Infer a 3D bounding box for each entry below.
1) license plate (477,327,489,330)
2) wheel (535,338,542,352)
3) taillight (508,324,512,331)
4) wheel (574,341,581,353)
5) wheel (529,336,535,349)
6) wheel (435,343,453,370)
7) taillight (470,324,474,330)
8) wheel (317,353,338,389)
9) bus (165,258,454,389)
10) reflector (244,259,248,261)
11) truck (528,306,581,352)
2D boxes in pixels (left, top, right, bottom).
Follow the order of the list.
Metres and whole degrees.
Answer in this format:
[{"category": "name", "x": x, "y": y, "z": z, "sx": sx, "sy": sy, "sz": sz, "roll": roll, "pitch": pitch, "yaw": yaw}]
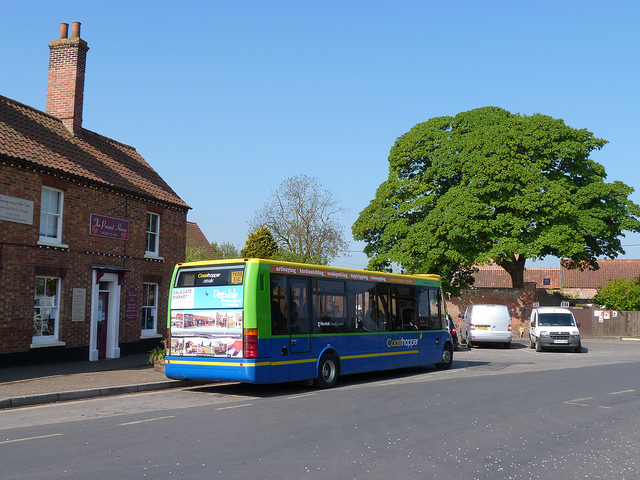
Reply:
[{"category": "license plate", "x": 9.091, "y": 4.925, "z": 31.052, "sx": 0.571, "sy": 0.141, "sz": 0.017, "roll": -7, "pitch": -10, "yaw": 19}, {"category": "wheel", "x": 11.165, "y": 5.367, "z": 28.513, "sx": 0.287, "sy": 0.701, "sz": 0.685, "roll": -6, "pitch": -11, "yaw": 21}, {"category": "taillight", "x": 10.483, "y": 4.871, "z": 30.890, "sx": 0.219, "sy": 0.413, "sz": 0.215, "roll": 0, "pitch": 0, "yaw": 45}, {"category": "wheel", "x": 12.918, "y": 5.358, "z": 28.034, "sx": 0.207, "sy": 0.683, "sz": 0.653, "roll": 3, "pitch": 0, "yaw": 5}, {"category": "wheel", "x": 11.594, "y": 5.640, "z": 30.489, "sx": 0.207, "sy": 0.607, "sz": 0.804, "roll": -6, "pitch": -11, "yaw": 19}, {"category": "wheel", "x": 4.505, "y": 4.278, "z": 20.478, "sx": 0.314, "sy": 0.877, "sz": 0.853, "roll": 1, "pitch": -15, "yaw": 32}, {"category": "taillight", "x": 8.515, "y": 4.875, "z": 31.294, "sx": 0.218, "sy": 0.270, "sz": 0.229, "roll": 0, "pitch": -8, "yaw": 1}, {"category": "wheel", "x": 0.178, "y": 3.680, "z": 15.693, "sx": 0.281, "sy": 0.968, "sz": 0.931, "roll": -4, "pitch": -9, "yaw": 29}, {"category": "bus", "x": 0.676, "y": 2.343, "z": 18.612, "sx": 3.240, "sy": 3.503, "sz": 11.148, "roll": -6, "pitch": -8, "yaw": 44}, {"category": "reflector", "x": -1.901, "y": 0.515, "z": 14.348, "sx": 0.120, "sy": 0.050, "sz": 0.077, "roll": -6, "pitch": -11, "yaw": 16}, {"category": "truck", "x": 12.556, "y": 4.804, "z": 30.175, "sx": 2.112, "sy": 2.402, "sz": 4.751, "roll": -1, "pitch": -7, "yaw": 12}]
